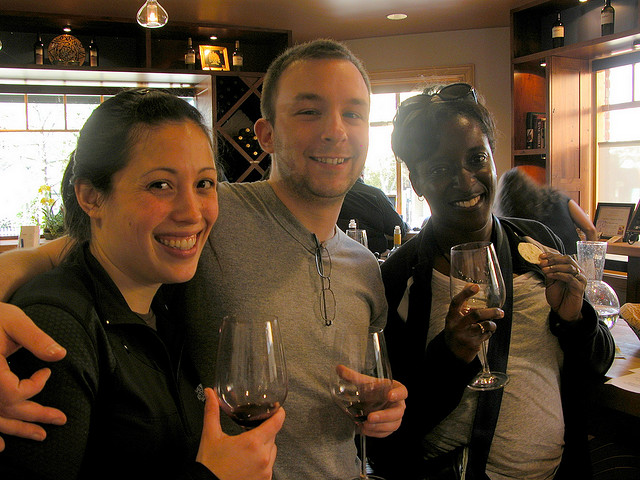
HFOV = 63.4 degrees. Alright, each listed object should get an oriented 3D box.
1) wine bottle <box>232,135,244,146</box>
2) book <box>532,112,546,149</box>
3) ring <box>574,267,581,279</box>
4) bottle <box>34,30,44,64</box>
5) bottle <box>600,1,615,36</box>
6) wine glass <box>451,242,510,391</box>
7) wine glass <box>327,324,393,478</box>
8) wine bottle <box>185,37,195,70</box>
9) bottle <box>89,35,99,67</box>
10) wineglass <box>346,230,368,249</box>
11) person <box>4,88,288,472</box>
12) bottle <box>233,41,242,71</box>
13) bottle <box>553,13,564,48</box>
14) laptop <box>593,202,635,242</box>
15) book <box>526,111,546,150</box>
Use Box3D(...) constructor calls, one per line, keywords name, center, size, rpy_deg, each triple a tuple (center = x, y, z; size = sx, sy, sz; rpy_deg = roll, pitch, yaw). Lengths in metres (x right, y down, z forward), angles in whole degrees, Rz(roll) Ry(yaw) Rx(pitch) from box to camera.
Box3D(name="wine bottle", center=(-0.887, -1.084, 5.617), size=(0.099, 0.098, 0.025), rpy_deg=(40, -20, -18))
Box3D(name="book", center=(2.251, -1.158, 5.419), size=(0.077, 0.294, 0.313), rpy_deg=(8, 12, 21))
Box3D(name="ring", center=(0.813, 0.103, 1.637), size=(0.022, 0.036, 0.007), rpy_deg=(-6, 9, -35))
Box3D(name="bottle", center=(-2.660, -1.840, 4.926), size=(0.088, 0.367, 0.292), rpy_deg=(-5, 9, -27))
Box3D(name="bottle", center=(2.638, -2.024, 4.760), size=(0.111, 0.292, 0.235), rpy_deg=(4, 9, 29))
Box3D(name="wine glass", center=(0.520, 0.259, 1.656), size=(0.260, 0.517, 0.163), rpy_deg=(-7, 10, -41))
Box3D(name="wine glass", center=(0.116, 0.426, 1.374), size=(0.154, 0.404, 0.137), rpy_deg=(-8, 10, -41))
Box3D(name="wine bottle", center=(-1.357, -1.951, 5.416), size=(0.101, 0.348, 0.184), rpy_deg=(-3, 8, -14))
Box3D(name="bottle", center=(-2.231, -1.870, 5.127), size=(0.091, 0.328, 0.235), rpy_deg=(-4, 8, -23))
Box3D(name="wineglass", center=(0.216, -0.012, 2.962), size=(0.103, 0.174, 0.105), rpy_deg=(2, -35, 0))
Box3D(name="person", center=(-0.467, 0.100, 1.232), size=(0.451, 0.943, 0.396), rpy_deg=(-2, 8, -11))
Box3D(name="bottle", center=(-0.896, -2.012, 5.653), size=(0.099, 0.336, 0.194), rpy_deg=(-2, 8, -9))
Box3D(name="bottle", center=(2.339, -2.074, 5.099), size=(0.092, 0.347, 0.182), rpy_deg=(3, 8, 23))
Box3D(name="laptop", center=(2.265, -0.139, 4.000), size=(0.024, 0.320, 0.317), rpy_deg=(28, -13, -41))
Box3D(name="book", center=(2.244, -1.136, 5.379), size=(0.225, 0.398, 0.425), rpy_deg=(1, 2, 23))
